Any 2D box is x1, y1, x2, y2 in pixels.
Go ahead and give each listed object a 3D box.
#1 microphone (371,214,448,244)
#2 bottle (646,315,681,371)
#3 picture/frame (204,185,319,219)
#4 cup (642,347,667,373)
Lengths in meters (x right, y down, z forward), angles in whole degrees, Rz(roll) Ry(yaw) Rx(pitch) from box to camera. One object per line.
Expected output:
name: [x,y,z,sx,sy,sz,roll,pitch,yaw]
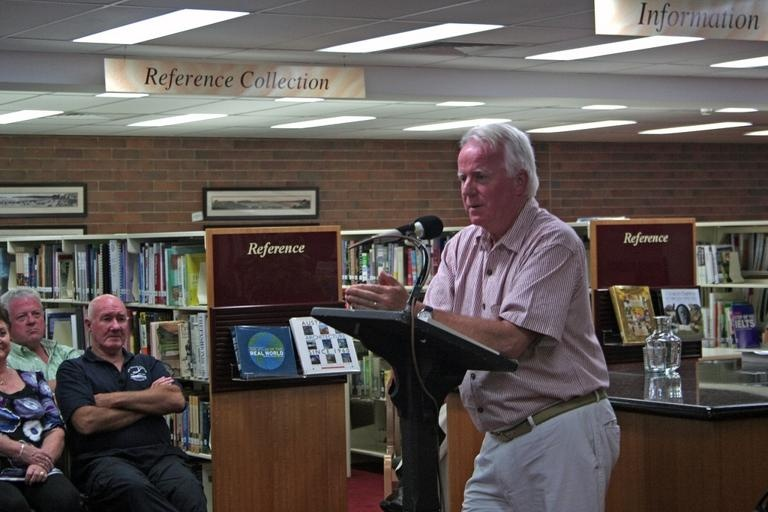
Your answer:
microphone: [0.105,-0.102,2.797,0.317,0.077,0.090,-6,4,-43]
bottle: [1.717,0.544,4.515,0.209,0.339,0.277,-3,-4,19]
picture/frame: [-1.997,-0.858,11.932,1.851,0.543,0.127,0,-4,-15]
cup: [1.640,0.623,4.449,0.151,0.204,0.149,0,5,0]
